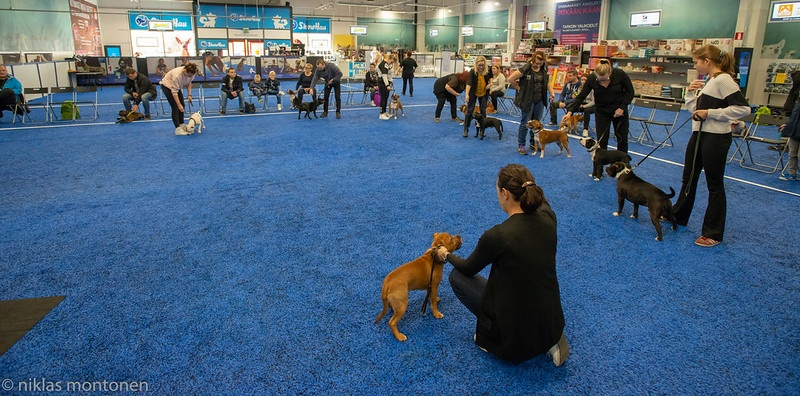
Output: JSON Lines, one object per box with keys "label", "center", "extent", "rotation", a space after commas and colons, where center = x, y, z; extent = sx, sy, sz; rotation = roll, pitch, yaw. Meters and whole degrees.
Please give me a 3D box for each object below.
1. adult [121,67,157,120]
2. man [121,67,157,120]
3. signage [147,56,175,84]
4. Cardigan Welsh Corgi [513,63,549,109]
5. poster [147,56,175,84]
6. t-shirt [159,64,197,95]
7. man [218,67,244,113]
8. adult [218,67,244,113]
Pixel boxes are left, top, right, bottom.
{"label": "adult", "center": [-9.355, -3.726, 13.936], "extent": [1.019, 1.718, 1.609], "rotation": [-18, 26, -33]}
{"label": "man", "center": [-9.369, -3.731, 13.951], "extent": [1.036, 1.718, 1.647], "rotation": [-17, 25, -30]}
{"label": "signage", "center": [-12.969, -6.958, 21.263], "extent": [1.521, 1.352, 0.016], "rotation": [-1, 5, -6]}
{"label": "Cardigan Welsh Corgi", "center": [3.516, -3.010, 10.439], "extent": [0.996, 1.124, 0.758], "rotation": [-13, 27, -22]}
{"label": "poster", "center": [-13.022, -6.989, 21.356], "extent": [0.016, 1.379, 1.485], "rotation": [32, 32, 27]}
{"label": "t-shirt", "center": [-6.590, -3.478, 11.500], "extent": [0.746, 0.709, 1.186], "rotation": [-17, 25, -32]}
{"label": "man", "center": [-6.663, -4.240, 15.384], "extent": [0.870, 1.639, 1.953], "rotation": [-10, 22, -17]}
{"label": "adult", "center": [-6.693, -4.244, 15.398], "extent": [0.939, 1.639, 2.025], "rotation": [-11, 23, -19]}
